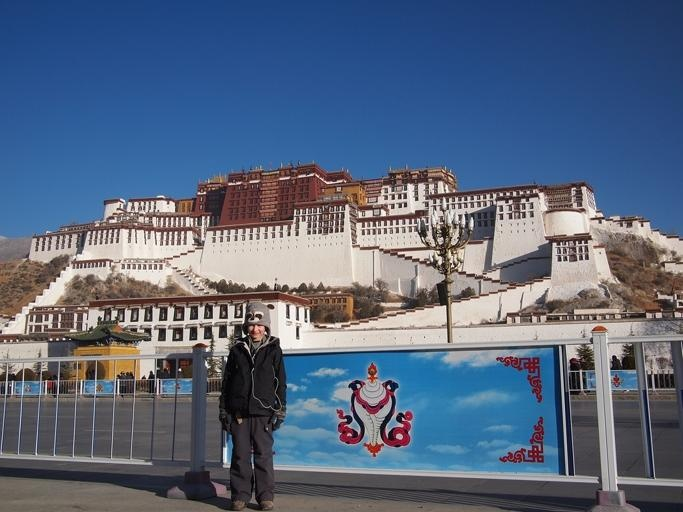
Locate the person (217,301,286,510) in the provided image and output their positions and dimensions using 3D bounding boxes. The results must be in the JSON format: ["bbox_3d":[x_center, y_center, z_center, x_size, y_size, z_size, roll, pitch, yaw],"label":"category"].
[{"bbox_3d":[-0.985,1.630,6.391,0.716,2.197,0.353,0,-9,-5],"label":"person"}]

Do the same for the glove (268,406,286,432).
[{"bbox_3d":[-0.701,1.797,6.349,0.161,0.265,0.099,17,-12,-7],"label":"glove"}]

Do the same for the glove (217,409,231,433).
[{"bbox_3d":[-1.306,1.842,6.393,0.170,0.227,0.080,1,-6,-36],"label":"glove"}]

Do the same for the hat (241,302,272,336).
[{"bbox_3d":[-0.946,0.711,6.589,0.340,0.400,0.385,-1,-19,0],"label":"hat"}]

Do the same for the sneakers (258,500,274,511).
[{"bbox_3d":[-0.798,2.650,6.137,0.161,0.105,0.126,1,-10,-14],"label":"sneakers"}]
